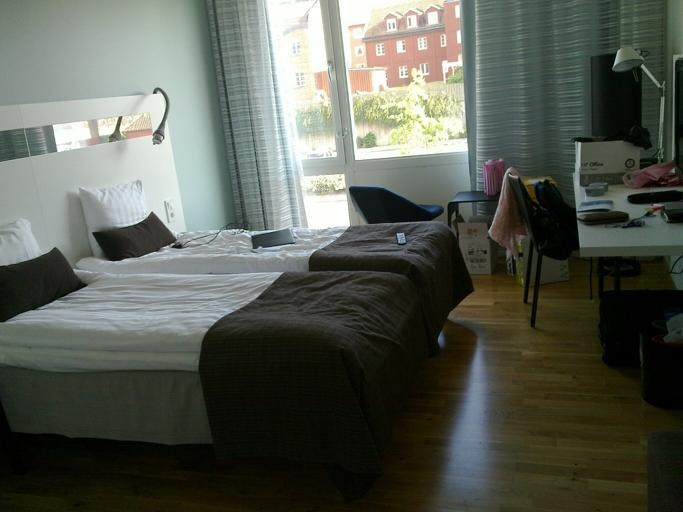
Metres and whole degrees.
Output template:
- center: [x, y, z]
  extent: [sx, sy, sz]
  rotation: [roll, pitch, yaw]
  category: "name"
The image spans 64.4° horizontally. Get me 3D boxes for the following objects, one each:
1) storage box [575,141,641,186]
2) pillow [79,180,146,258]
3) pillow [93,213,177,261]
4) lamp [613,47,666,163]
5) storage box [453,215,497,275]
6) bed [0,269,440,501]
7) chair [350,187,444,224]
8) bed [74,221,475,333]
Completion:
- center: [1.844, -0.629, 3.861]
  extent: [0.419, 0.295, 0.428]
  rotation: [2, 1, 11]
  category: "storage box"
- center: [-1.705, -0.259, 3.985]
  extent: [0.171, 0.399, 0.497]
  rotation: [9, 20, 20]
  category: "pillow"
- center: [-1.543, -0.133, 4.031]
  extent: [0.286, 0.282, 0.724]
  rotation: [14, 21, 16]
  category: "pillow"
- center: [2.177, -1.091, 3.952]
  extent: [0.332, 0.836, 0.876]
  rotation: [1, 15, 30]
  category: "lamp"
- center: [1.197, -0.158, 5.007]
  extent: [0.412, 0.609, 0.467]
  rotation: [-6, 17, 16]
  category: "storage box"
- center: [-0.142, 0.531, 2.679]
  extent: [0.886, 0.554, 1.079]
  rotation: [1, 11, 17]
  category: "bed"
- center: [0.449, -0.452, 4.619]
  extent: [0.530, 0.403, 0.384]
  rotation: [-16, 15, -14]
  category: "chair"
- center: [-0.267, 0.004, 3.715]
  extent: [1.924, 0.463, 1.148]
  rotation: [0, 9, 9]
  category: "bed"
